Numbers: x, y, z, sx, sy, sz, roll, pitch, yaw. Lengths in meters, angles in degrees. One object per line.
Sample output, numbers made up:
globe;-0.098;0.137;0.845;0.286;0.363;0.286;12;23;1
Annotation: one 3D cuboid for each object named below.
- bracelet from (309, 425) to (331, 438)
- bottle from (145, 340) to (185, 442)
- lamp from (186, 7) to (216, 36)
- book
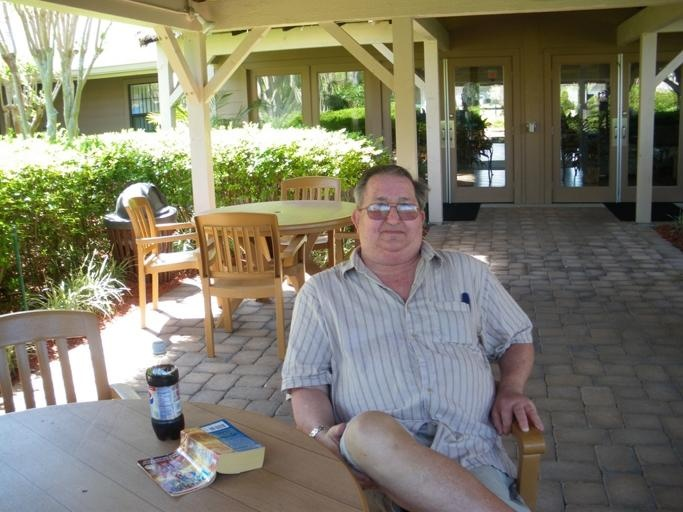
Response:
bracelet;-0.080;0.644;1.884;0.060;0.061;0.016;-35;50;-16
bottle;-0.533;0.435;1.550;0.106;0.241;0.105;-8;1;0
lamp;-1.798;-3.143;6.613;0.233;0.298;0.638;1;9;8
book;-0.380;0.547;1.394;0.286;0.076;0.252;-7;12;-39
